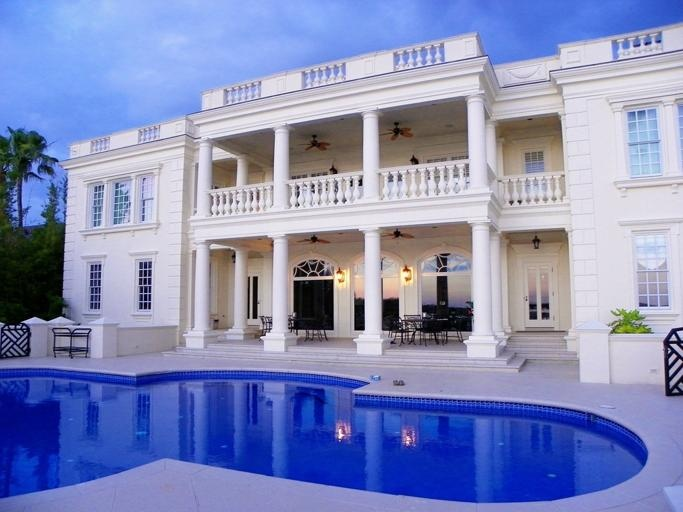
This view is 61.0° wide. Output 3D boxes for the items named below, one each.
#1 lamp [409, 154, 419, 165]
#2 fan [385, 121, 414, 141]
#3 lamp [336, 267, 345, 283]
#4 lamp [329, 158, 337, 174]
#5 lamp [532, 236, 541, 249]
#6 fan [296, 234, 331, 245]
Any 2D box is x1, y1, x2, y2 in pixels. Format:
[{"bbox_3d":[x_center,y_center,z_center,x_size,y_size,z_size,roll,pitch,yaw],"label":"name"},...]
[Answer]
[{"bbox_3d":[2.592,-3.458,20.570,0.350,0.395,0.555,-1,3,16],"label":"lamp"},{"bbox_3d":[1.972,-4.230,19.751,0.923,0.492,1.909,-2,3,2],"label":"fan"},{"bbox_3d":[-0.021,0.732,21.666,0.358,0.571,0.142,-2,3,5],"label":"lamp"},{"bbox_3d":[-0.282,-3.379,21.848,0.312,0.514,0.344,-2,3,-1],"label":"lamp"},{"bbox_3d":[6.512,-0.463,19.261,0.279,0.475,0.748,-1,3,18],"label":"lamp"},{"bbox_3d":[-0.958,-0.607,21.354,1.105,0.345,2.158,-3,3,-12],"label":"fan"}]
